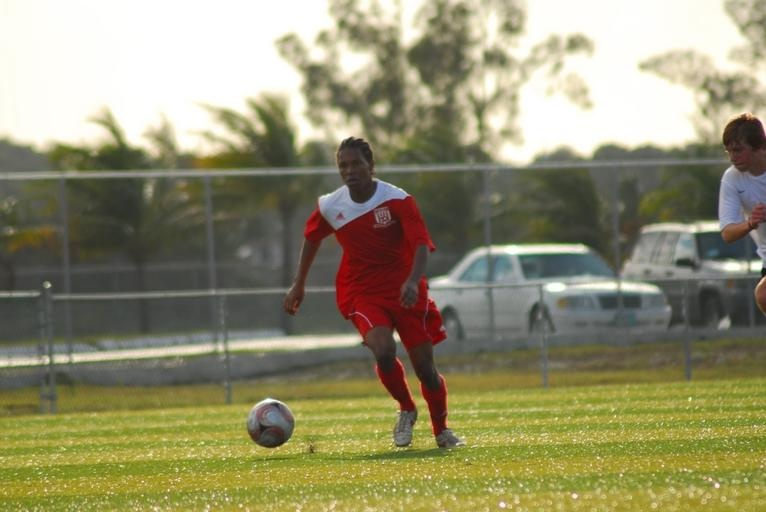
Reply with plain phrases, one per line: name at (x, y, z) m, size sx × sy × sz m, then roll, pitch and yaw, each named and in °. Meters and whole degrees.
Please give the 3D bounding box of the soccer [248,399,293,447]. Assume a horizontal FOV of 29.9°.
soccer at (-1.266, 1.828, 16.093) m, size 0.505 × 0.522 × 0.589 m, roll -6°, pitch 17°, yaw -4°

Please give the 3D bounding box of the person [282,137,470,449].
person at (-0.046, 0.444, 16.032) m, size 1.541 × 2.753 × 0.663 m, roll -6°, pitch -2°, yaw 1°

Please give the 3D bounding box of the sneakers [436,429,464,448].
sneakers at (0.753, 2.091, 16.108) m, size 0.309 × 0.137 × 0.164 m, roll -4°, pitch -3°, yaw 28°

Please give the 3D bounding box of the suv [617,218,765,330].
suv at (4.488, 0.235, 20.720) m, size 1.331 × 1.224 × 2.130 m, roll 3°, pitch -6°, yaw -41°

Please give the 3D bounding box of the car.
car at (2.099, 0.560, 20.517) m, size 2.820 × 1.071 × 1.664 m, roll -8°, pitch -6°, yaw 36°

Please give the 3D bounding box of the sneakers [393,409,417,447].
sneakers at (0.244, 1.951, 16.301) m, size 0.173 × 0.490 × 0.195 m, roll 4°, pitch -33°, yaw 13°
